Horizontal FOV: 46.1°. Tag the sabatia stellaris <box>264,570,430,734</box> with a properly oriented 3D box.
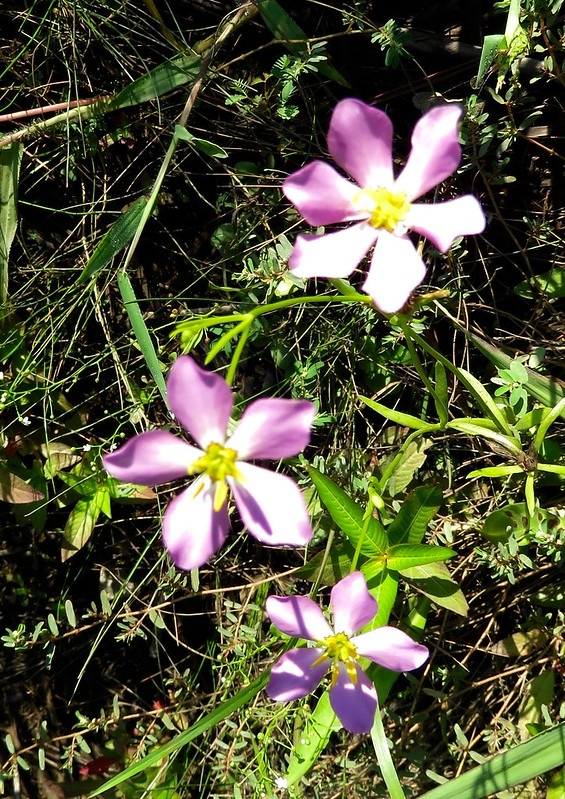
[{"bbox_3d":[0.108,0.476,1.246,0.300,0.306,0.221,14,56,20],"label":"sabatia stellaris"}]

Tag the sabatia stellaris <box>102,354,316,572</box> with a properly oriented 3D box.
[{"bbox_3d":[-0.099,0.092,0.975,0.273,0.086,0.284,34,45,31],"label":"sabatia stellaris"}]

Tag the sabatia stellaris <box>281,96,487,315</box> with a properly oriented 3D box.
[{"bbox_3d":[0.152,-0.292,0.970,0.282,0.170,0.330,24,59,26],"label":"sabatia stellaris"}]
